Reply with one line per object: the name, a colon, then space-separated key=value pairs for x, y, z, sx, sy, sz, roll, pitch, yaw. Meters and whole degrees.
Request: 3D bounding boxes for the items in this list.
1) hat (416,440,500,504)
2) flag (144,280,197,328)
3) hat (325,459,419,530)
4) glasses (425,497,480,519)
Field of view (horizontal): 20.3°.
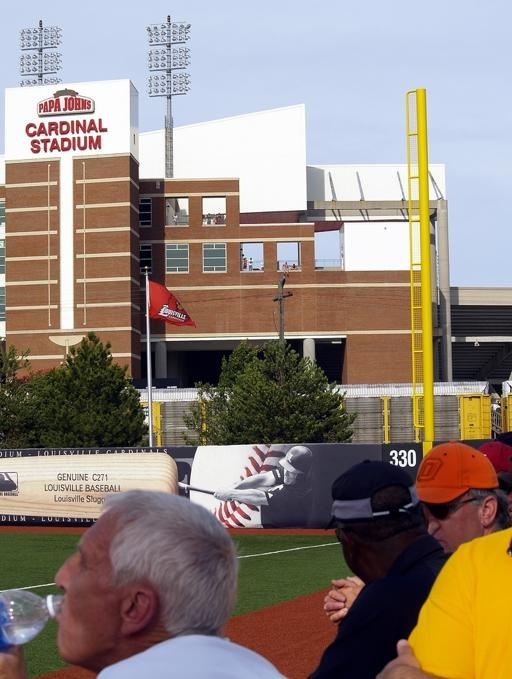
hat: x=0.651 y=0.467 z=4.930 sx=0.373 sy=0.214 sz=0.257 roll=0 pitch=-12 yaw=-37
flag: x=-3.111 y=-1.209 z=52.116 sx=0.190 sy=1.877 sz=1.752 roll=-7 pitch=-8 yaw=38
hat: x=0.375 y=0.511 z=4.728 sx=0.244 sy=0.161 sz=0.179 roll=-8 pitch=0 yaw=43
glasses: x=0.643 y=0.572 z=4.844 sx=0.119 sy=0.035 sz=0.088 roll=-12 pitch=-2 yaw=-31
